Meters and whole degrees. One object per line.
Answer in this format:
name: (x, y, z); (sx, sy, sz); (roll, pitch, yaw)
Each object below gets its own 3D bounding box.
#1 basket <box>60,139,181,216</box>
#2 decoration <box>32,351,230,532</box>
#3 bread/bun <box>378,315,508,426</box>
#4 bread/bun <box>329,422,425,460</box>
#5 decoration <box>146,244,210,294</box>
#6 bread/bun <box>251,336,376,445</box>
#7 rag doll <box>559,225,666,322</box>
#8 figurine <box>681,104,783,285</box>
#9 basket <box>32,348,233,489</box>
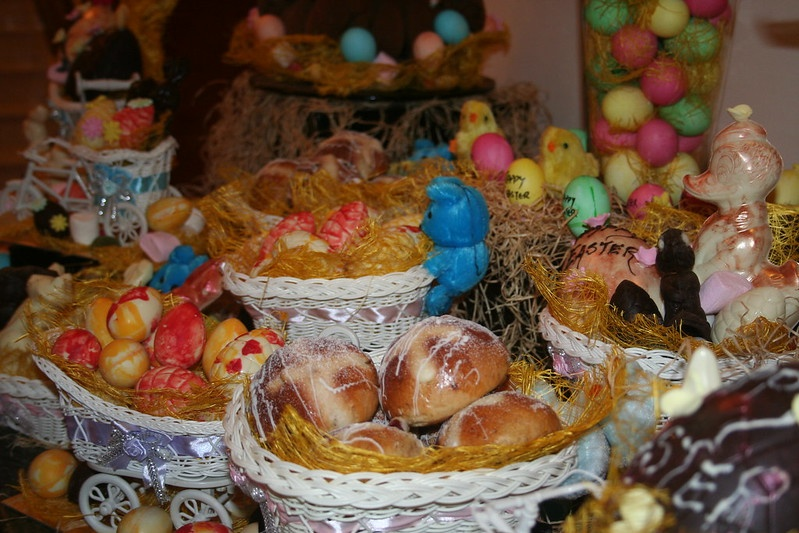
basket: (-0.805, -0.294, 2.104); (0.243, 0.179, 0.249); (15, 21, 42)
decoration: (-0.526, 0.390, 1.620); (0.453, 0.324, 0.299); (1, 2, -1)
bread/bun: (0.072, 0.199, 1.362); (0.212, 0.116, 0.214); (1, 39, 15)
bread/bun: (-0.037, 0.314, 1.300); (0.092, 0.029, 0.083); (16, -4, -32)
decoration: (-0.566, 0.013, 1.883); (0.209, 0.100, 0.132); (19, 22, 38)
bread/bun: (-0.157, 0.207, 1.367); (0.178, 0.110, 0.192); (4, 29, 5)
rag doll: (0.468, -0.010, 1.611); (0.185, 0.134, 0.238); (-1, 53, 11)
figurine: (0.720, -0.114, 1.569); (0.224, 0.469, 0.210); (5, 20, 35)
basket: (-0.551, 0.310, 1.536); (0.347, 0.143, 0.271); (7, -8, 1)
